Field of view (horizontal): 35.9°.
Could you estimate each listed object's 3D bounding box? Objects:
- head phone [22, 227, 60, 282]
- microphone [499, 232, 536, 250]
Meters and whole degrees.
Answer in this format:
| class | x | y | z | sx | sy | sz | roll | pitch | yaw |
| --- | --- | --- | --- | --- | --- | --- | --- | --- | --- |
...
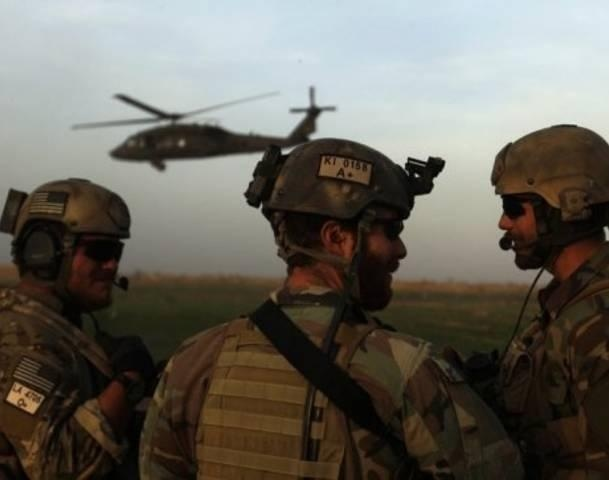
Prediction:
| class | x | y | z | sx | sy | sz | roll | pitch | yaw |
| --- | --- | --- | --- | --- | --- | --- | --- | --- | --- |
| head phone | -1.435 | 0.041 | 5.216 | 0.267 | 0.283 | 0.221 | -13 | 18 | -43 |
| microphone | 1.044 | -0.003 | 4.493 | 0.089 | 0.054 | 0.067 | 6 | 17 | 19 |
